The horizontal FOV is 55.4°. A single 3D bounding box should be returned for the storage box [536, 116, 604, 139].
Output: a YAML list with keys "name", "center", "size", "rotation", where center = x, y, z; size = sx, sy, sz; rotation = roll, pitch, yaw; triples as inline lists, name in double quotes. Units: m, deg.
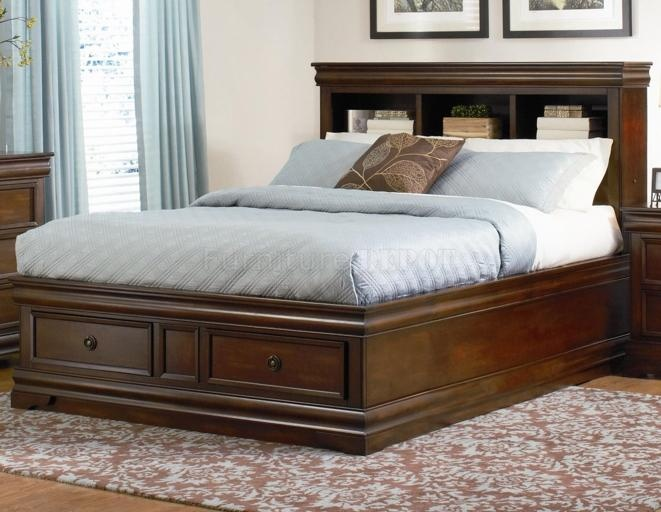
- name: "storage box"
  center: [1.306, -0.707, 3.489]
  size: [0.238, 0.060, 0.215]
  rotation: [1, 3, 26]

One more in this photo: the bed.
- name: "bed"
  center: [0.384, -0.243, 3.062]
  size: [2.083, 1.252, 2.675]
  rotation: [5, 8, 39]

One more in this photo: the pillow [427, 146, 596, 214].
- name: "pillow"
  center: [0.938, -0.235, 3.492]
  size: [0.770, 0.196, 0.982]
  rotation: [11, -19, 10]
